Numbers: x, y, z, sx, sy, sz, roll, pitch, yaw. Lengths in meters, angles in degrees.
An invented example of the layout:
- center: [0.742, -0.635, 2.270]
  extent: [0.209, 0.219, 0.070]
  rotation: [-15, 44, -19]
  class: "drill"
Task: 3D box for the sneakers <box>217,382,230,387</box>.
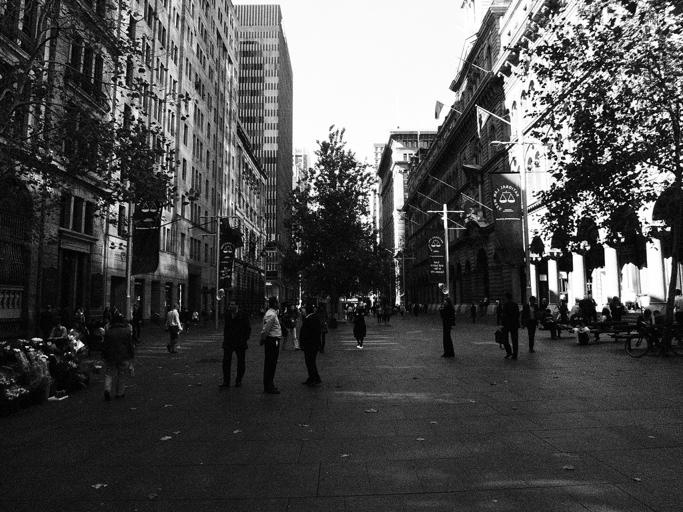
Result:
- center: [-2.820, 3.105, 15.750]
  extent: [0.245, 0.113, 0.332]
  rotation: [-1, 0, -13]
  class: "sneakers"
